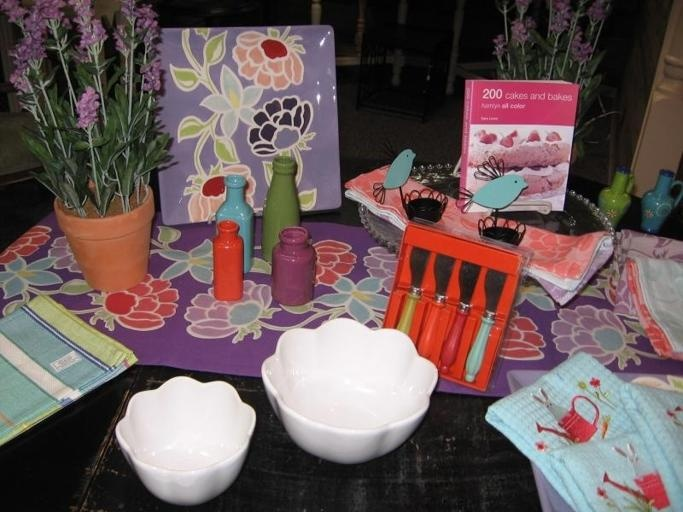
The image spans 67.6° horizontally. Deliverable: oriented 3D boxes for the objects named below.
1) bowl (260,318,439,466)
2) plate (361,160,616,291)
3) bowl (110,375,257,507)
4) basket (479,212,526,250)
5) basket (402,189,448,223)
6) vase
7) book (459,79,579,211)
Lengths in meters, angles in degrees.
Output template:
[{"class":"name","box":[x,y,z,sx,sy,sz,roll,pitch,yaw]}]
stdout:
[{"class":"bowl","box":[0.010,0.207,0.787,0.260,0.110,0.202,12,33,11]},{"class":"plate","box":[0.318,-0.070,1.113,0.373,0.049,0.351,28,31,15]},{"class":"bowl","box":[-0.218,0.260,0.730,0.189,0.089,0.157,12,33,11]},{"class":"basket","box":[0.340,-0.034,1.112,0.100,0.053,0.107,14,38,17]},{"class":"basket","box":[0.184,-0.111,1.138,0.092,0.052,0.098,11,32,17]},{"class":"vase","box":[-0.480,-0.044,1.123,0.184,0.186,0.201,2,28,0]},{"class":"book","box":[0.413,-0.269,1.162,0.267,0.318,0.068,2,9,-3]}]
